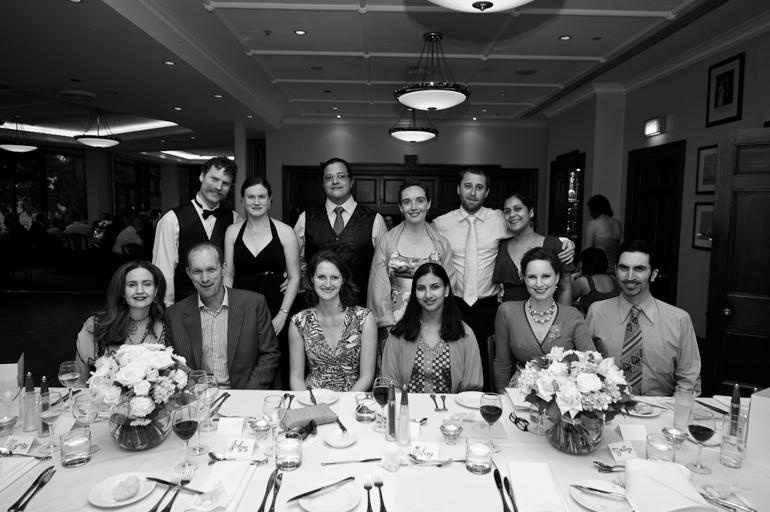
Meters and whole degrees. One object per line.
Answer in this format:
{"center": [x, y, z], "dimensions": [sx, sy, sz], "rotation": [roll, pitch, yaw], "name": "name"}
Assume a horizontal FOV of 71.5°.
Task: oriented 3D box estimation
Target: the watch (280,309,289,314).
{"center": [-0.834, 0.453, 4.414], "dimensions": [0.049, 0.035, 0.054], "rotation": [0, -5, 33], "name": "watch"}

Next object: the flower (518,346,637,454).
{"center": [1.088, 0.749, 3.106], "dimensions": [0.565, 0.461, 0.581], "rotation": [1, 5, 7], "name": "flower"}

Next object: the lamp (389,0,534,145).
{"center": [0.711, -2.231, 6.145], "dimensions": [0.965, 1.221, 0.971], "rotation": [7, 34, 15], "name": "lamp"}

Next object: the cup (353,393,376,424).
{"center": [-0.120, 0.914, 3.187], "dimensions": [0.120, 0.141, 0.145], "rotation": [0, -6, 4], "name": "cup"}

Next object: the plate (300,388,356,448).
{"center": [-0.322, 0.965, 3.163], "dimensions": [0.144, 0.030, 0.428], "rotation": [-4, 10, -29], "name": "plate"}

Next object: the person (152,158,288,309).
{"center": [-1.582, 0.103, 4.658], "dimensions": [0.754, 1.834, 0.500], "rotation": [2, -2, -37], "name": "person"}

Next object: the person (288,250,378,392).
{"center": [-0.369, 0.471, 3.840], "dimensions": [0.631, 0.992, 0.303], "rotation": [1, 3, -12], "name": "person"}

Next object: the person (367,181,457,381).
{"center": [0.211, 0.361, 4.484], "dimensions": [0.798, 1.967, 0.557], "rotation": [0, 10, -1], "name": "person"}

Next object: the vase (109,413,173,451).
{"center": [-1.426, 0.954, 3.032], "dimensions": [0.283, 0.161, 0.292], "rotation": [-23, -34, 21], "name": "vase"}

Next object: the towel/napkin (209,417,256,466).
{"center": [-0.836, 1.033, 2.988], "dimensions": [0.243, 0.180, 0.086], "rotation": [1, -2, 14], "name": "towel/napkin"}

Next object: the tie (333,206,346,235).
{"center": [-0.412, -0.300, 4.678], "dimensions": [0.082, 0.261, 0.035], "rotation": [-1, -7, 4], "name": "tie"}

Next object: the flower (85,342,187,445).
{"center": [-1.402, 0.765, 3.174], "dimensions": [0.536, 0.557, 0.538], "rotation": [3, -5, -16], "name": "flower"}

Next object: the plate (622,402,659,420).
{"center": [1.561, 0.936, 3.241], "dimensions": [0.193, 0.043, 0.190], "rotation": [-7, 6, -44], "name": "plate"}

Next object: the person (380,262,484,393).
{"center": [0.334, 0.572, 3.861], "dimensions": [0.759, 1.067, 0.345], "rotation": [1, 20, 5], "name": "person"}
